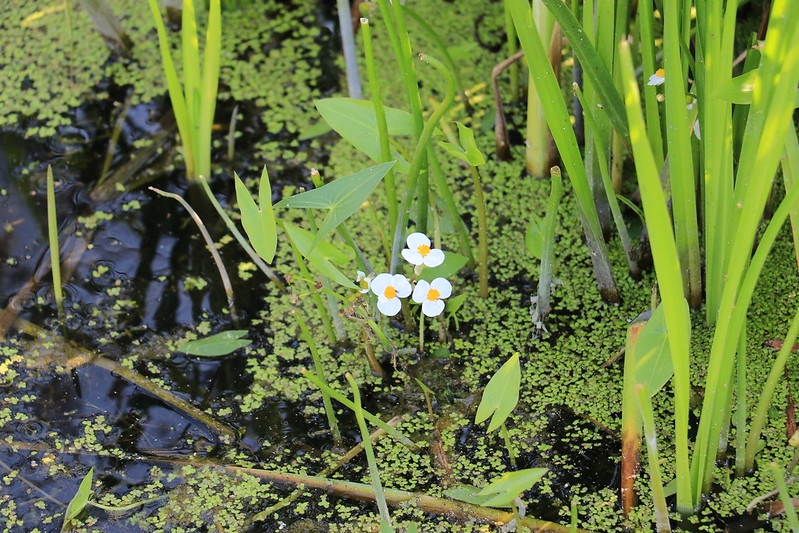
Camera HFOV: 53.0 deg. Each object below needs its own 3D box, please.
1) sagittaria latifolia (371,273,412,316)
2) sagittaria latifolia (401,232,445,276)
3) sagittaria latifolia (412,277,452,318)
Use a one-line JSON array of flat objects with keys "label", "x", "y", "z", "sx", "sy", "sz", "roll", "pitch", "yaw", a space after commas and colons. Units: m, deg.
[{"label": "sagittaria latifolia", "x": -0.020, "y": 0.061, "z": 1.950, "sx": 0.079, "sy": 0.088, "sz": 0.107, "roll": 21, "pitch": 44, "yaw": 33}, {"label": "sagittaria latifolia", "x": 0.054, "y": -0.018, "z": 2.006, "sx": 0.097, "sy": 0.144, "sz": 0.108, "roll": 0, "pitch": 76, "yaw": 1}, {"label": "sagittaria latifolia", "x": 0.078, "y": 0.075, "z": 2.002, "sx": 0.089, "sy": 0.090, "sz": 0.069, "roll": 9, "pitch": 38, "yaw": 20}]
